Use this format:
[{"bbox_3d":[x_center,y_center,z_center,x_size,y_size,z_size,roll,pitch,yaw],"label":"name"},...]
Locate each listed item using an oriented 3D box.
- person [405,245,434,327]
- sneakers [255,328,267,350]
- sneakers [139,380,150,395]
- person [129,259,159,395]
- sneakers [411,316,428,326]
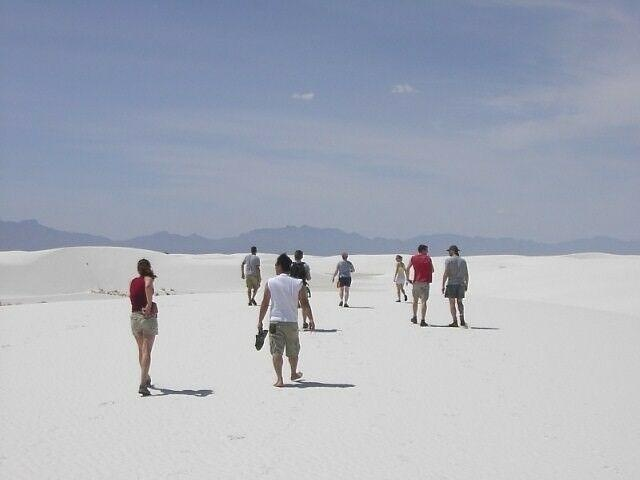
[{"bbox_3d":[2.579,1.185,18.113,0.574,2.089,0.647,-2,-11,28],"label":"person"},{"bbox_3d":[-0.969,1.643,11.493,0.123,0.438,0.170,6,-23,3],"label":"sneakers"},{"bbox_3d":[-2.760,2.345,11.078,0.181,0.215,0.492,0,1,-14],"label":"sneakers"},{"bbox_3d":[-2.834,1.389,11.276,0.405,2.123,0.937,0,1,-16],"label":"person"},{"bbox_3d":[2.492,2.111,17.921,0.151,0.239,0.498,2,-4,-18],"label":"sneakers"}]
